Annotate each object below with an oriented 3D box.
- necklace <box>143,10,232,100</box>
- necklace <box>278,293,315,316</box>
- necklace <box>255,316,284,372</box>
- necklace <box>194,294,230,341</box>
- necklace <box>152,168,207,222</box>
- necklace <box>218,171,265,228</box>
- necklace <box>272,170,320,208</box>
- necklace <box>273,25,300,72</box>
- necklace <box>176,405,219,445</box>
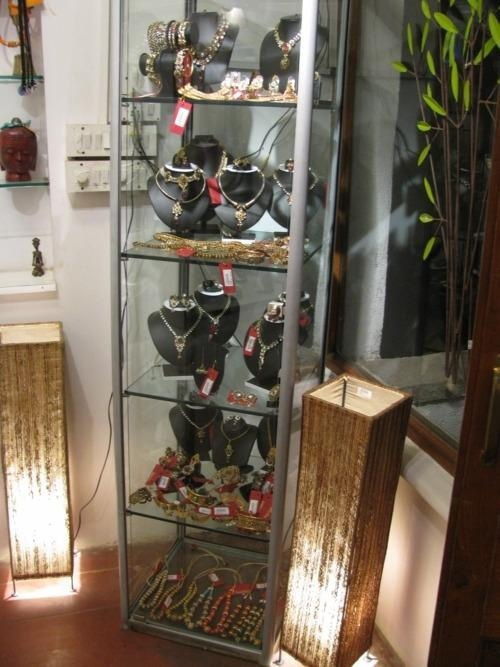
[{"bbox_3d":[-0.136,-0.612,1.267,0.213,0.180,0.048,-1,16,-10],"label":"necklace"},{"bbox_3d":[0.113,-0.078,1.388,0.067,0.057,0.053,-7,39,5],"label":"necklace"},{"bbox_3d":[0.046,0.027,1.383,0.076,0.145,0.019,15,21,40],"label":"necklace"},{"bbox_3d":[-0.091,-0.044,1.436,0.098,0.144,0.067,0,26,1],"label":"necklace"},{"bbox_3d":[-0.161,-0.326,1.425,0.162,0.155,0.110,0,30,-7],"label":"necklace"},{"bbox_3d":[-0.020,-0.311,1.332,0.128,0.146,0.040,12,19,33],"label":"necklace"},{"bbox_3d":[0.099,-0.330,1.313,0.120,0.081,0.110,0,21,4],"label":"necklace"},{"bbox_3d":[0.075,-0.597,1.208,0.069,0.087,0.005,16,21,42],"label":"necklace"},{"bbox_3d":[-0.138,0.241,1.558,0.110,0.105,0.058,2,27,2],"label":"necklace"}]
